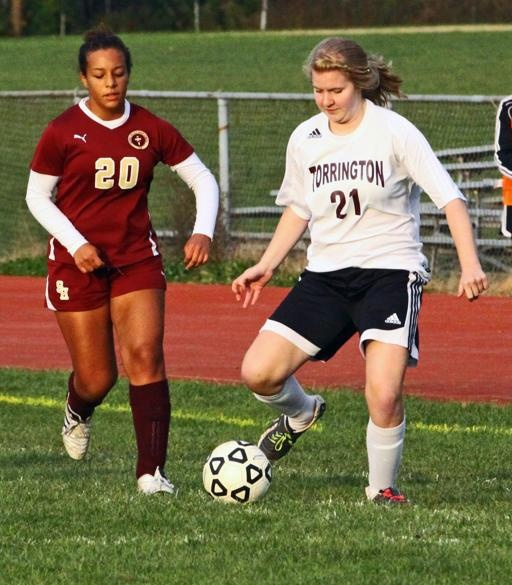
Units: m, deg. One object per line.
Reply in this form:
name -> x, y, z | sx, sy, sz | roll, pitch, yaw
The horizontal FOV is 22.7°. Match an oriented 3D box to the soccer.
soccer -> -0.078, 0.908, 6.205 | 0.323, 0.355, 0.326 | 8, 16, 4

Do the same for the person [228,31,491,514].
person -> 0.471, -0.101, 6.132 | 1.301, 2.211, 0.597 | 6, 9, 37

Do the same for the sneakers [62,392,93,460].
sneakers -> -0.971, 0.751, 6.976 | 0.120, 0.386, 0.155 | -5, 13, -17

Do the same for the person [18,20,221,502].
person -> -0.676, -0.148, 6.321 | 0.906, 2.278, 0.935 | 1, 7, 5

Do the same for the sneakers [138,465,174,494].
sneakers -> -0.469, 0.901, 6.090 | 0.079, 0.086, 0.170 | 4, -13, -24
